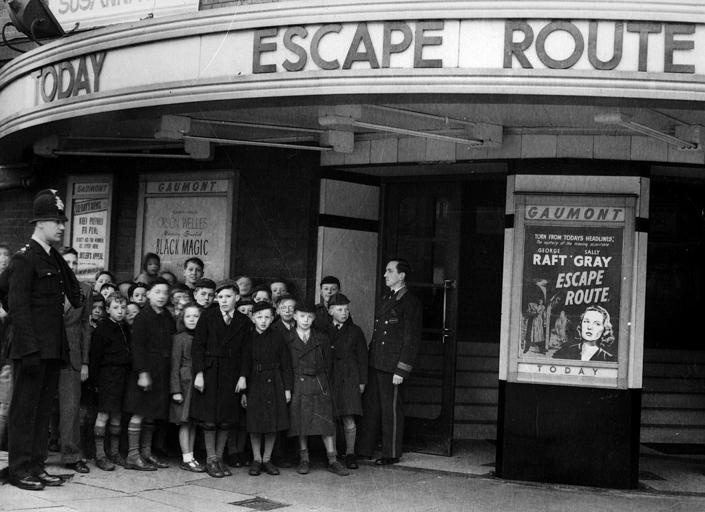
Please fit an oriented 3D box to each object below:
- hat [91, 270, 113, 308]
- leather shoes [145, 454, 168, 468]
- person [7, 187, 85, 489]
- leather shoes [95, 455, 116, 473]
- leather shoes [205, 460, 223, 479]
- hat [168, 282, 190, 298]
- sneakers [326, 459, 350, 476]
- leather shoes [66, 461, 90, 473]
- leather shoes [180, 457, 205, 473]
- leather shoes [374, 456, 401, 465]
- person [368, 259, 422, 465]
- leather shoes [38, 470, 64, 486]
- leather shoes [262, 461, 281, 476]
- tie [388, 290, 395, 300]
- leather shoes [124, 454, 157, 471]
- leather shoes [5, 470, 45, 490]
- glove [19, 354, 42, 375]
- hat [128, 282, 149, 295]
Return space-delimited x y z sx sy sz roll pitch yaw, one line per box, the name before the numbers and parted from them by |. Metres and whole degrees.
hat | -2.849 0.376 11.408 0.297 0.403 0.476 5 -2 -16
leather shoes | -1.969 2.060 10.092 0.223 0.093 0.108 8 0 -17
person | -2.854 0.729 9.161 0.645 2.735 0.412 4 -6 -16
leather shoes | -2.443 2.048 9.945 0.196 0.131 0.257 4 -6 -15
leather shoes | -1.382 2.119 9.954 0.086 0.109 0.227 -2 0 -36
hat | -1.827 0.352 10.653 0.135 0.147 0.172 -2 -20 -22
sneakers | -0.158 2.188 10.339 0.095 0.109 0.261 3 -1 -41
leather shoes | -2.691 2.050 9.771 0.265 0.113 0.100 -1 -3 22
leather shoes | -1.608 2.098 10.071 0.203 0.087 0.128 1 -1 17
leather shoes | 0.366 2.210 10.820 0.268 0.085 0.184 3 -5 -2
person | 0.441 1.146 10.942 0.541 2.196 0.300 1 -6 11
leather shoes | -2.757 2.029 9.176 0.269 0.122 0.096 2 4 8
leather shoes | -0.823 2.162 10.164 0.080 0.079 0.191 2 -3 -30
tie | 0.416 0.435 11.171 0.053 0.094 0.083 6 7 18
leather shoes | -2.127 2.064 10.039 0.346 0.172 0.136 2 -4 7
leather shoes | -2.940 2.005 9.024 0.352 0.146 0.134 1 -2 22
glove | -2.874 0.978 8.998 0.175 0.178 0.127 4 -6 -19
hat | -2.394 0.350 11.147 0.177 0.105 0.240 -2 -1 -5
